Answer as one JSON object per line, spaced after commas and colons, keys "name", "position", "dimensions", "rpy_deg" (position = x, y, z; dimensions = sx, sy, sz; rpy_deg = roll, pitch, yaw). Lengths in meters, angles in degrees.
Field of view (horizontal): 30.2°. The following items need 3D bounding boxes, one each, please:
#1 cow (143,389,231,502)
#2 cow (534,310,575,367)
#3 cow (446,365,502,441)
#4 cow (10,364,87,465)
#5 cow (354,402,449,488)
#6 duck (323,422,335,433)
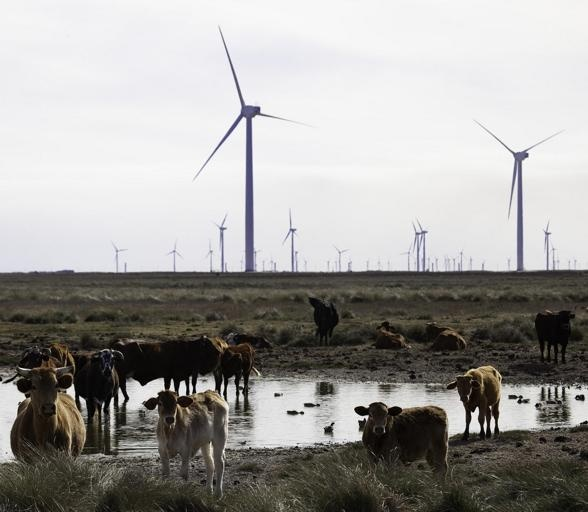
{"name": "cow", "position": [-1.892, 3.476, 20.378], "dimensions": [0.644, 1.972, 1.810], "rpy_deg": [-4, -5, 29]}
{"name": "cow", "position": [9.013, 2.811, 37.781], "dimensions": [0.734, 1.975, 2.966], "rpy_deg": [-1, -4, -4]}
{"name": "cow", "position": [4.146, 3.333, 24.774], "dimensions": [0.954, 1.613, 2.645], "rpy_deg": [-3, -5, 17]}
{"name": "cow", "position": [-4.691, 2.980, 20.762], "dimensions": [1.226, 1.734, 2.187], "rpy_deg": [0, -5, -12]}
{"name": "cow", "position": [2.059, 3.568, 20.795], "dimensions": [0.922, 1.553, 2.632], "rpy_deg": [3, -5, 42]}
{"name": "duck", "position": [0.832, 4.112, 26.066], "dimensions": [0.096, 0.223, 0.394], "rpy_deg": [6, 12, 21]}
